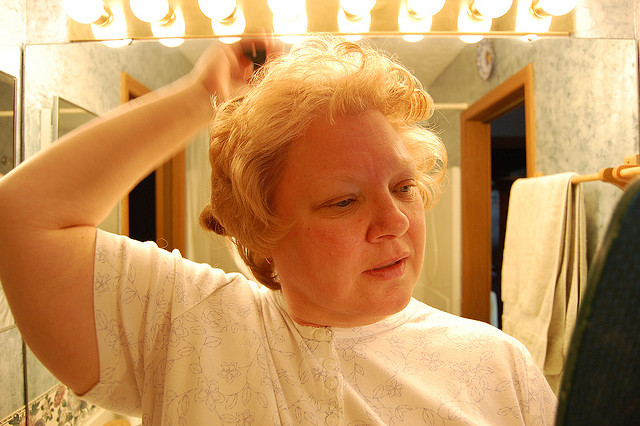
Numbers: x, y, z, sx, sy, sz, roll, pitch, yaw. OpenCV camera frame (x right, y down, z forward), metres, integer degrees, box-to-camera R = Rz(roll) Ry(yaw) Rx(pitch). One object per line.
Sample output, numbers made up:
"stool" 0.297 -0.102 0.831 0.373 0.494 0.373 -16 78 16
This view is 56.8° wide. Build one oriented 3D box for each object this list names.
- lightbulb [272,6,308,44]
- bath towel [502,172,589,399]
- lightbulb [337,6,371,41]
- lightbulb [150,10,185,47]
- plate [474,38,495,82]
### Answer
"lightbulb" -0.087 -0.551 1.768 0.085 0.095 0.093 1 4 8
"bath towel" 0.643 0.228 1.800 0.081 0.593 0.225 -2 6 -28
"lightbulb" 0.099 -0.557 1.723 0.088 0.096 0.098 4 -27 -3
"lightbulb" -0.443 -0.540 1.723 0.095 0.111 0.100 -2 3 -17
"plate" 0.489 -0.449 1.759 0.013 0.106 0.082 5 -13 -45
